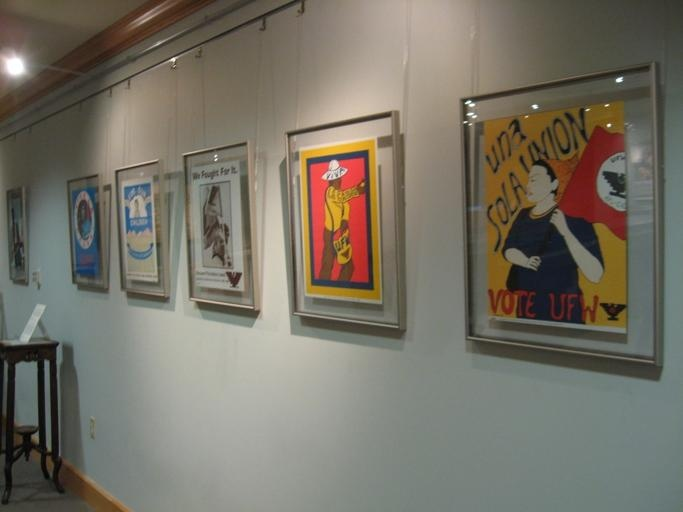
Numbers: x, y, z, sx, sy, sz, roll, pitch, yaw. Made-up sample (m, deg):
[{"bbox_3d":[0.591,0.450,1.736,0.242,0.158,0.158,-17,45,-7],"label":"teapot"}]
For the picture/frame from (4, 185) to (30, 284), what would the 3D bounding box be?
[{"bbox_3d":[-2.662,-0.199,4.241,0.100,1.098,0.708,-2,2,-37],"label":"picture/frame"}]
